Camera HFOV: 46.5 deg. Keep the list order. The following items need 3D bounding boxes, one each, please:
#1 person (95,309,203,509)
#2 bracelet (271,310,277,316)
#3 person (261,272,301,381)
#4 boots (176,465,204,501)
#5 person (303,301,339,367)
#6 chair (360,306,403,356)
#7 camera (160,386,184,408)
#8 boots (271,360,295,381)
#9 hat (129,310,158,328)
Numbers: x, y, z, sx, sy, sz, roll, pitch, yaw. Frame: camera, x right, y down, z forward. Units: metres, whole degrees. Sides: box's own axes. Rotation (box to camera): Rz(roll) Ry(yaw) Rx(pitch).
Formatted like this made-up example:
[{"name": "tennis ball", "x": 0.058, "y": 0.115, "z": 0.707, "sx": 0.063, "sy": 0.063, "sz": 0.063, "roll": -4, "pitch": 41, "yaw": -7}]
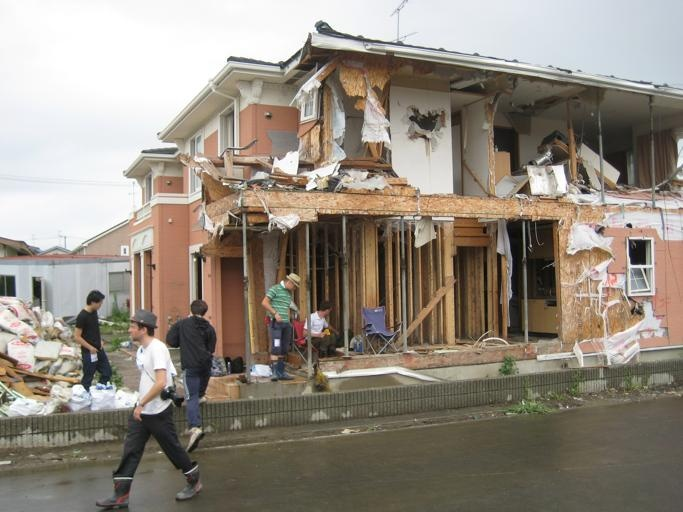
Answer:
[{"name": "person", "x": -2.690, "y": 2.138, "z": 11.283, "sx": 1.312, "sy": 2.710, "sz": 0.558, "roll": -2, "pitch": 8, "yaw": -13}, {"name": "bracelet", "x": -1.260, "y": 1.104, "z": 15.317, "sx": 0.104, "sy": 0.107, "sz": 0.120, "roll": -5, "pitch": 10, "yaw": -34}, {"name": "person", "x": -1.193, "y": 1.435, "z": 15.965, "sx": 0.677, "sy": 2.054, "sz": 1.517, "roll": 0, "pitch": 8, "yaw": -4}, {"name": "boots", "x": -2.186, "y": 3.267, "z": 11.396, "sx": 0.172, "sy": 0.415, "sz": 0.436, "roll": 1, "pitch": 10, "yaw": 34}, {"name": "person", "x": -0.388, "y": 1.614, "z": 16.575, "sx": 0.679, "sy": 1.311, "sz": 0.618, "roll": 0, "pitch": 6, "yaw": 23}, {"name": "chair", "x": 0.863, "y": 1.609, "z": 16.962, "sx": 0.714, "sy": 1.088, "sz": 0.784, "roll": 1, "pitch": -9, "yaw": -13}, {"name": "camera", "x": -2.386, "y": 1.974, "z": 11.262, "sx": 0.215, "sy": 0.372, "sz": 0.168, "roll": -51, "pitch": -14, "yaw": 21}, {"name": "boots", "x": -1.169, "y": 2.252, "z": 15.623, "sx": 0.228, "sy": 0.426, "sz": 0.566, "roll": 0, "pitch": 1, "yaw": 42}, {"name": "hat", "x": -2.788, "y": 0.931, "z": 11.263, "sx": 0.326, "sy": 0.131, "sz": 0.264, "roll": 24, "pitch": -2, "yaw": -35}]
